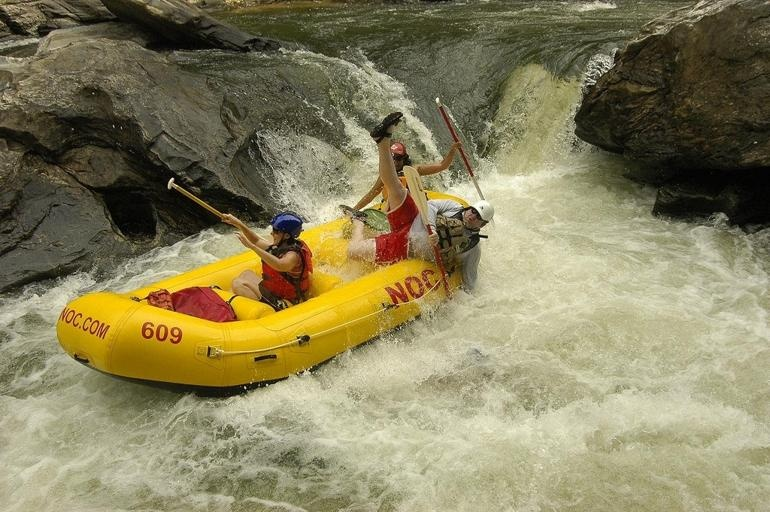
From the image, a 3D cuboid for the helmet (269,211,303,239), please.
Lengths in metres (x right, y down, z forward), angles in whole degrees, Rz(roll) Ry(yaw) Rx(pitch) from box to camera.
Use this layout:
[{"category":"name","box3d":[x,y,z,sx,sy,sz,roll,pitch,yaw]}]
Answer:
[{"category":"helmet","box3d":[-1.170,-0.351,8.840,0.383,0.186,0.256,15,32,-26]}]

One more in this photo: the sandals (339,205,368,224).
[{"category":"sandals","box3d":[-0.428,-0.557,9.937,0.434,0.214,0.082,24,68,8]}]

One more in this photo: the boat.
[{"category":"boat","box3d":[-1.310,0.773,8.777,3.885,0.846,2.051,-22,35,-24]}]

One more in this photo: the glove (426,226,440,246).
[{"category":"glove","box3d":[0.597,-0.245,9.108,0.082,0.231,0.173,-34,39,1]}]

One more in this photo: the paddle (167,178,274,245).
[{"category":"paddle","box3d":[-2.444,-0.606,10.410,1.672,0.268,0.239,31,9,-14]}]

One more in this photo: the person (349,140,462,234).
[{"category":"person","box3d":[0.362,-1.023,10.011,0.978,0.565,1.352,-54,16,-30]}]
